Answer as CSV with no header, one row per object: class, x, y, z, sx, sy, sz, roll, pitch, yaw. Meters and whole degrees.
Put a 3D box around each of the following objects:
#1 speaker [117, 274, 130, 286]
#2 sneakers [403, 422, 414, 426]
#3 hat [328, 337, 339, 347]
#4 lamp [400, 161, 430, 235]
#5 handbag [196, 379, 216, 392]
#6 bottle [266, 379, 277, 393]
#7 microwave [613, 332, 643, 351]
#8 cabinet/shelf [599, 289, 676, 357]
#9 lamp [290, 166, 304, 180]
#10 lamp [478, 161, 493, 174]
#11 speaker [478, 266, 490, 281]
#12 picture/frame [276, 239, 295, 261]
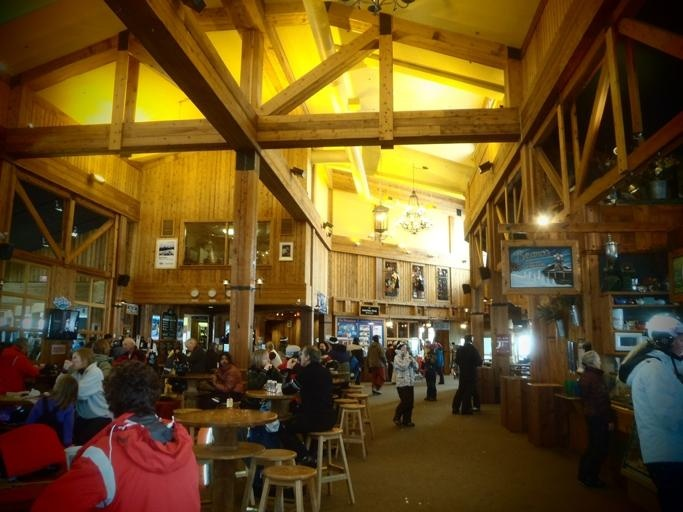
speaker,-6.328,0.685,14.317,0.266,0.492,0.500,2,-3,-4
sneakers,1.337,3.304,9.612,0.175,0.061,0.126,-1,-9,31
hat,-0.212,2.246,12.776,0.408,0.183,0.476,1,-1,10
lamp,2.742,-1.927,18.290,1.017,2.307,4.524,-2,-12,10
handbag,-2.522,2.399,9.088,0.494,0.115,0.497,-2,-7,30
bottle,-0.961,1.791,6.706,0.115,0.160,0.162,0,-10,4
microwave,4.153,1.185,7.102,0.451,0.327,0.248,-1,-11,16
cabinet/shelf,4.006,0.904,6.670,0.937,0.897,0.314,1,-15,10
lamp,-1.064,-2.068,11.762,0.283,0.335,0.537,0,-12,2
lamp,3.335,-2.090,11.235,0.289,0.238,0.433,-2,-12,11
speaker,3.704,0.451,12.495,0.277,0.234,0.217,12,-15,-40
picture/frame,-1.686,-0.168,14.809,0.646,0.883,0.067,0,-7,3
